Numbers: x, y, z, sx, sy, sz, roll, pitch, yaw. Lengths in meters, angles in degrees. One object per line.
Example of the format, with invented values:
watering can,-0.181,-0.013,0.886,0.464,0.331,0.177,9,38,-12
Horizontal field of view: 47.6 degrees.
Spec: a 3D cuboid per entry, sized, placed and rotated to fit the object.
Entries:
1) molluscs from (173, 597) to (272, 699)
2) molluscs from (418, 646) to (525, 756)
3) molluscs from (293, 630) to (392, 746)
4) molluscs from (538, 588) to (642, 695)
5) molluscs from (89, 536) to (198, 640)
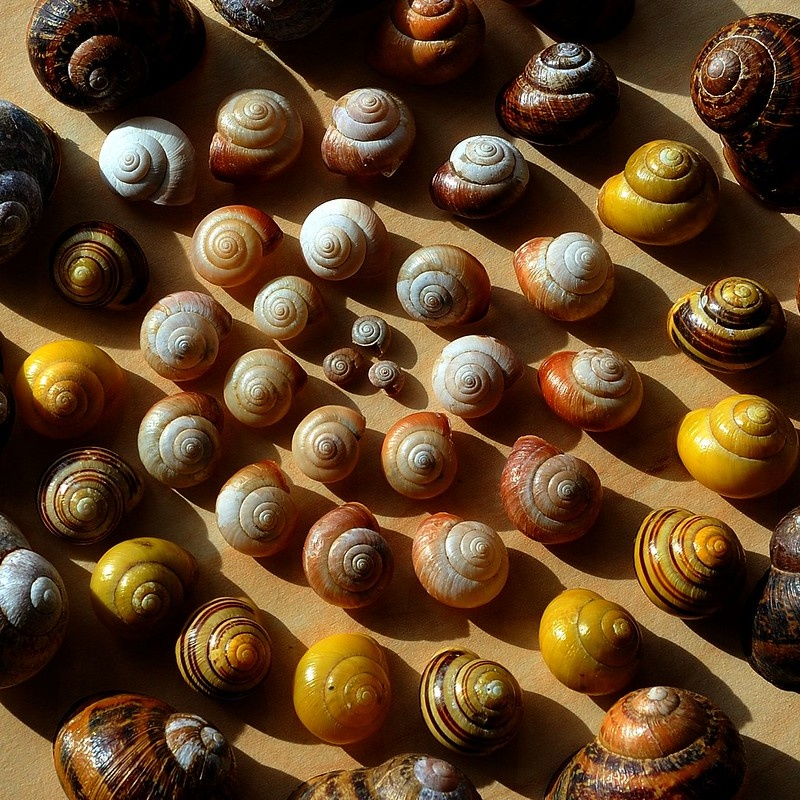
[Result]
molluscs,-0.271,0.371,1.363,0.139,0.073,0.146,-26,67,-10
molluscs,0.103,0.438,1.348,0.128,0.066,0.157,-15,79,-37
molluscs,-0.090,0.426,1.349,0.147,0.070,0.149,-15,66,-5
molluscs,0.275,0.369,1.396,0.141,0.088,0.148,41,74,-3
molluscs,-0.398,0.288,1.392,0.147,0.070,0.132,-4,65,0
